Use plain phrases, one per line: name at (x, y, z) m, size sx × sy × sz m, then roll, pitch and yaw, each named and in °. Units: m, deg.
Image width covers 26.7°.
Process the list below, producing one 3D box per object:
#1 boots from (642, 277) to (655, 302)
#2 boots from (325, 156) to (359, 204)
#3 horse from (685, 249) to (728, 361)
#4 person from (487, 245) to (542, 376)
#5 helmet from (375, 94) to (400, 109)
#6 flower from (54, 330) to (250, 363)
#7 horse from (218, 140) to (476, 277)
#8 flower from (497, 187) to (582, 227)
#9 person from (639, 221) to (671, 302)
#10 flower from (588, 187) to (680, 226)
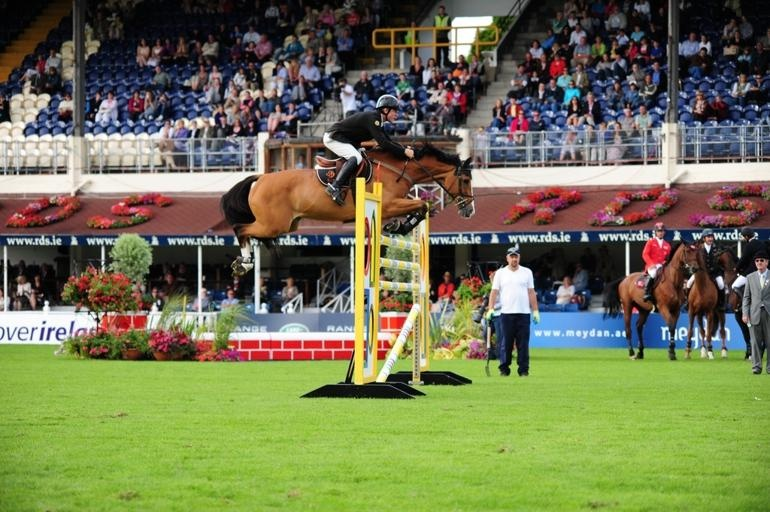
boots at (6.898, 0.835, 42.746) m, size 0.214 × 0.671 × 0.224 m, roll 3°, pitch 2°, yaw 16°
boots at (-0.886, -1.855, 36.804) m, size 0.618 × 1.302 × 0.346 m, roll 29°, pitch 38°, yaw 14°
horse at (8.454, 1.181, 43.290) m, size 1.014 × 2.836 × 4.058 m, roll 4°, pitch 2°, yaw 18°
person at (3.050, 1.274, 38.156) m, size 1.253 × 2.914 × 0.876 m, roll -2°, pitch -2°, yaw 6°
helmet at (0.041, -3.491, 36.309) m, size 0.478 × 0.292 × 0.343 m, roll -2°, pitch 2°, yaw 7°
flower at (-6.228, 2.299, 42.104) m, size 2.740 × 0.455 × 1.578 m, roll 4°, pitch -4°, yaw -1°
horse at (-0.768, -1.091, 37.497) m, size 5.996 × 2.602 × 1.350 m, roll -4°, pitch 2°, yaw 14°
flower at (4.912, -1.647, 50.487) m, size 1.243 × 0.332 × 1.925 m, roll -5°, pitch 19°, yaw 30°
person at (7.082, 0.101, 42.995) m, size 0.680 × 2.145 × 0.577 m, roll -1°, pitch 0°, yaw 20°
flower at (7.608, -1.487, 49.802) m, size 1.421 × 0.416 × 1.959 m, roll 2°, pitch 24°, yaw 23°
